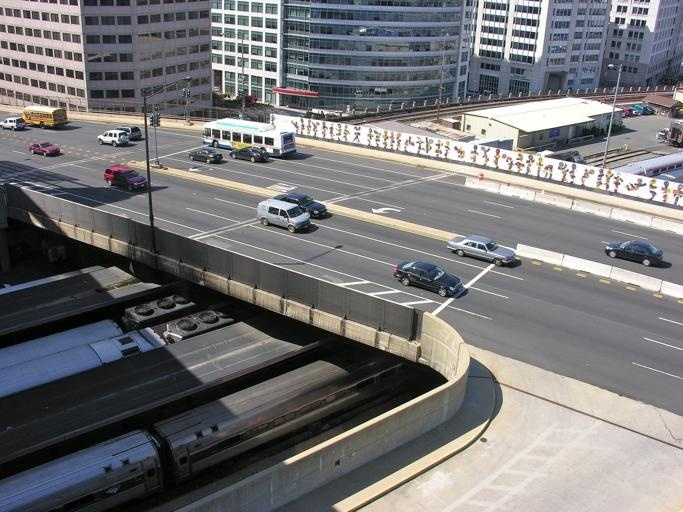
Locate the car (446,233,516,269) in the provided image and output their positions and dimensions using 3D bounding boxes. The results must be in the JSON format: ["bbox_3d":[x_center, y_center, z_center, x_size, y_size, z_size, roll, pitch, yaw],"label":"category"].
[{"bbox_3d":[11.985,-0.414,55.932,5.173,1.930,1.456,11,25,26],"label":"car"}]

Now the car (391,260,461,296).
[{"bbox_3d":[6.700,1.669,50.484,5.567,1.248,2.157,12,31,24],"label":"car"}]

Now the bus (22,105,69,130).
[{"bbox_3d":[-39.652,-18.546,88.564,5.912,1.912,2.849,10,31,9],"label":"bus"}]

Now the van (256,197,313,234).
[{"bbox_3d":[-5.353,-3.595,60.057,4.307,2.495,1.744,13,26,28],"label":"van"}]

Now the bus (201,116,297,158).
[{"bbox_3d":[-10.565,-14.426,79.680,14.482,3.222,4.028,13,32,19],"label":"bus"}]

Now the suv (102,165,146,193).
[{"bbox_3d":[-22.315,-7.904,67.949,4.106,2.068,1.894,14,26,30],"label":"suv"}]

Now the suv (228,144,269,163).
[{"bbox_3d":[-10.896,-11.998,77.701,4.881,1.122,1.815,11,29,15],"label":"suv"}]
